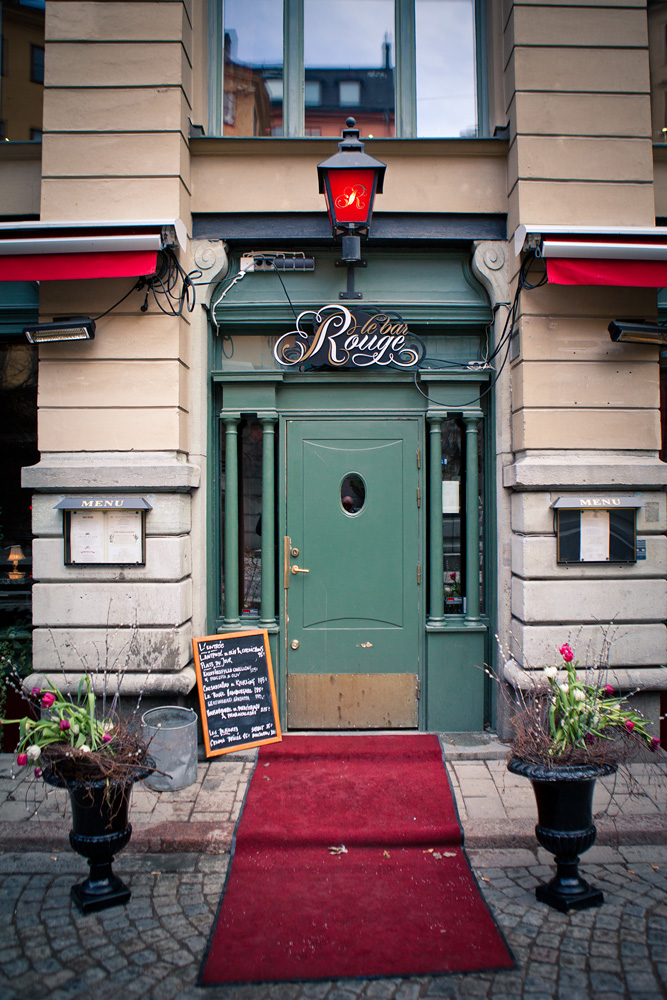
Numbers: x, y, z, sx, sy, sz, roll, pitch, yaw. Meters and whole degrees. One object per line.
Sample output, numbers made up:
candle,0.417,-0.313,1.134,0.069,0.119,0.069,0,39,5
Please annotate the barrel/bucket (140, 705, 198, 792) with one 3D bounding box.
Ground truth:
barrel/bucket,-1.022,1.603,6.988,0.392,0.514,0.426,0,4,0

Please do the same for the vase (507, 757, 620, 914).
vase,1.250,1.780,5.963,0.645,0.836,0.642,1,-3,-7
